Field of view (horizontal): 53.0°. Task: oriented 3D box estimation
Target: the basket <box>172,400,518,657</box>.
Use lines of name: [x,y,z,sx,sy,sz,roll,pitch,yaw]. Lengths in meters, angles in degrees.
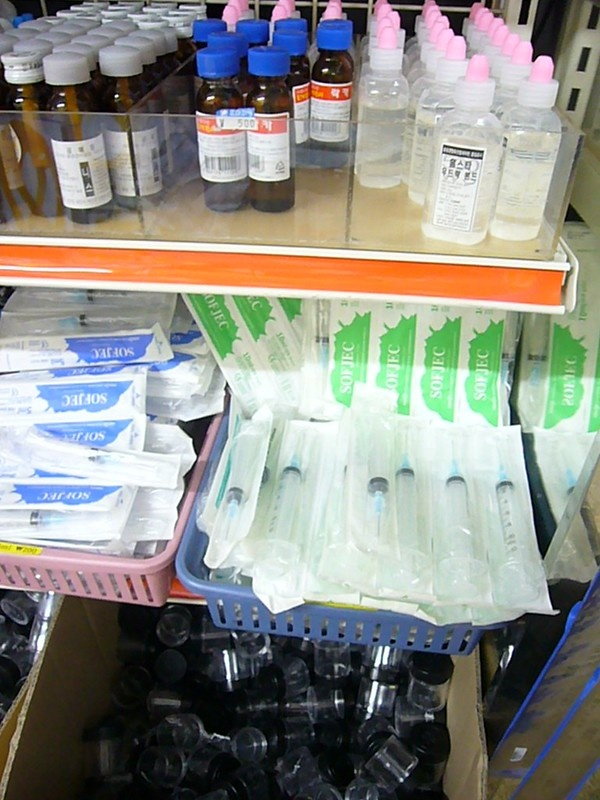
basket: [0.026,0.273,0.968,0.388,0.127,0.299,8,59,2]
